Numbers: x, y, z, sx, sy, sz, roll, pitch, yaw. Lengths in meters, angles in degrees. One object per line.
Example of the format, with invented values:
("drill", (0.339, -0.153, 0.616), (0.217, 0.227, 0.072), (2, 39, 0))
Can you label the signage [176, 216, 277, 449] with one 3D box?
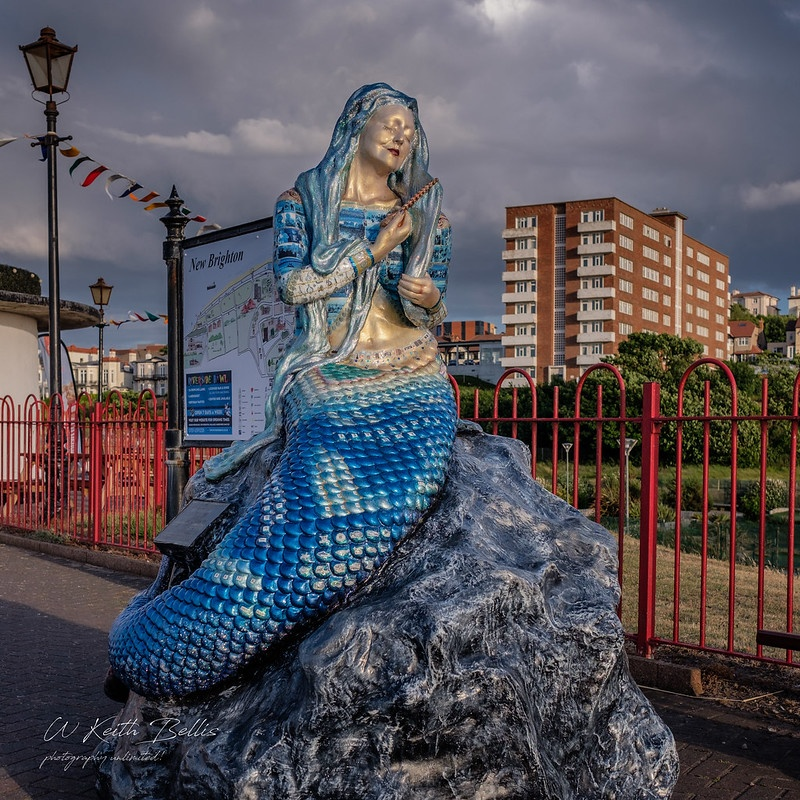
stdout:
("signage", (-1.219, -0.440, 8.262), (0.098, 1.847, 1.355), (6, -7, -41))

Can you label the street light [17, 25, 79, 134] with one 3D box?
("street light", (-4.307, -3.836, 14.292), (0.502, 1.443, 0.541), (-9, -7, 41))

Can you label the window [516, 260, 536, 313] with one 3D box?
("window", (9.018, -8.166, 85.458), (2.474, 3.173, 0.573), (-1, 7, 31))
